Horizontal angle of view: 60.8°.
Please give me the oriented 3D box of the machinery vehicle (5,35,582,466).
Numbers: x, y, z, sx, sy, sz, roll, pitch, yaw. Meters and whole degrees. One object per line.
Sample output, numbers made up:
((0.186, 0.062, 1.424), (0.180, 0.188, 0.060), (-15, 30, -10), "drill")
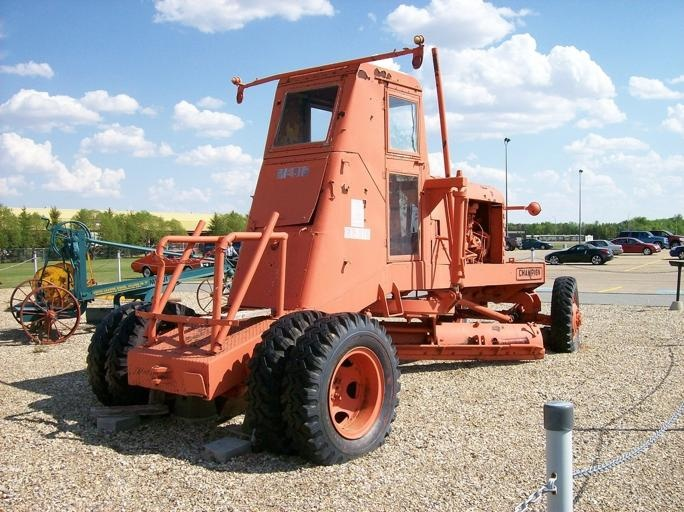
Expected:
((0.207, -0.234, 8.835), (3.909, 4.245, 7.386), (1, 3, 37), "machinery vehicle")
